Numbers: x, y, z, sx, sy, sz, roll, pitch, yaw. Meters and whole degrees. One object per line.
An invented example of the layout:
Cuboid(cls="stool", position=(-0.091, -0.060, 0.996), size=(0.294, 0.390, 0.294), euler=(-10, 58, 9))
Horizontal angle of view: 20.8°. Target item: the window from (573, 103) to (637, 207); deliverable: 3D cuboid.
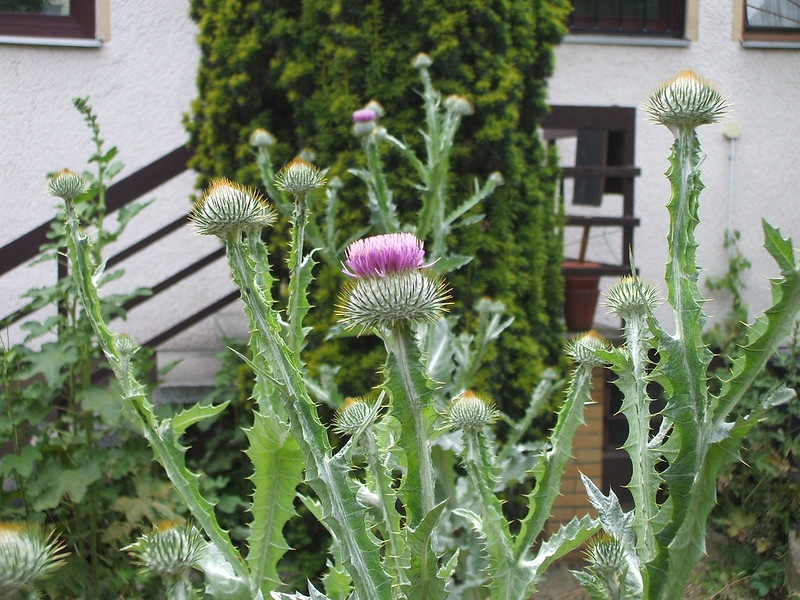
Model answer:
Cuboid(cls="window", position=(1.207, -0.795, 13.336), size=(0.357, 0.743, 0.412), euler=(-1, -25, 11))

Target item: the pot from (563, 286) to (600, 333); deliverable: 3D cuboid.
Cuboid(cls="pot", position=(1.162, 0.092, 14.019), size=(0.239, 0.292, 0.249), euler=(-2, 1, 0))
